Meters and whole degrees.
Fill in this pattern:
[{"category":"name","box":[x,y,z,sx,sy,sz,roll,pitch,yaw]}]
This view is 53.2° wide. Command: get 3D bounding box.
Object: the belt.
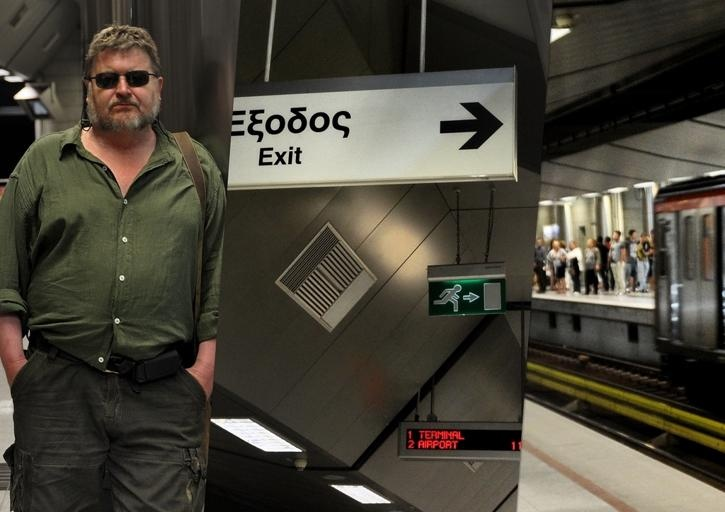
[{"category":"belt","box":[-0.781,0.350,2.391,0.235,0.069,0.222,19,-7,7]}]
